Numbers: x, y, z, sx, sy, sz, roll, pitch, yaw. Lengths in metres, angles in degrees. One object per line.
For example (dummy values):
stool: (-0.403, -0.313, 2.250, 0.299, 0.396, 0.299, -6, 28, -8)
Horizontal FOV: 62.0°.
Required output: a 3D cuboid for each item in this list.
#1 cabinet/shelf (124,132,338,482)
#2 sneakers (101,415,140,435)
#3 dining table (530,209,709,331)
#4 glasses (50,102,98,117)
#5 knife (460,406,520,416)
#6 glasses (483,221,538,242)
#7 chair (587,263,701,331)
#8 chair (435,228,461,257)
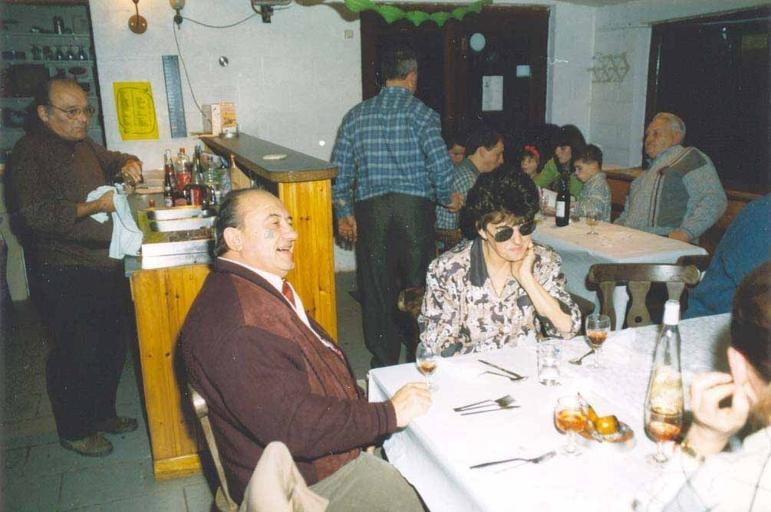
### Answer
cabinet/shelf: (-0.899, 0.333, 3.611, 1.077, 1.453, 2.065, -6, 21, -14)
sneakers: (-1.852, 1.181, 4.458, 0.191, 0.060, 0.116, -1, 18, -27)
dining table: (1.837, -0.059, 5.043, 0.836, 0.343, 1.433, -4, 27, -9)
glasses: (-2.090, -0.966, 4.225, 0.166, 0.047, 0.130, 18, 22, 31)
knife: (0.480, 0.727, 3.007, 0.305, 0.013, 0.089, -2, 24, -6)
glasses: (0.675, -0.136, 3.551, 0.286, 0.104, 0.110, 0, 15, 9)
chair: (1.649, 0.255, 4.113, 0.392, 0.494, 0.345, 1, 41, 6)
chair: (0.542, -0.128, 5.619, 0.214, 0.199, 0.209, 2, 13, 6)
